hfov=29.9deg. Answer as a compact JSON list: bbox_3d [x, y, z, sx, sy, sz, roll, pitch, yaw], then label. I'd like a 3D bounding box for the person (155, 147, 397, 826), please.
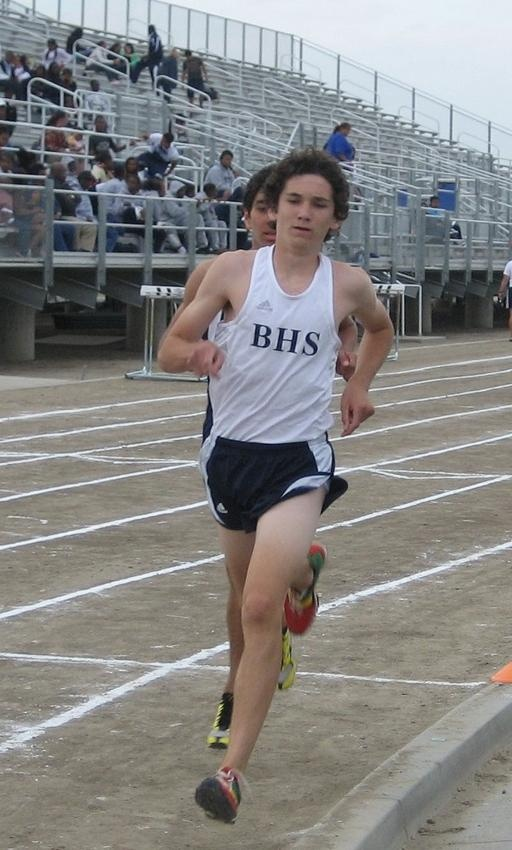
[{"bbox_3d":[0.026,0.018,2.741,0.598,1.634,1.347,3,10,11],"label":"person"}]

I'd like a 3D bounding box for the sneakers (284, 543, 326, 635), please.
[{"bbox_3d":[0.147,0.555,3.315,0.122,0.331,0.137,8,-13,25],"label":"sneakers"}]

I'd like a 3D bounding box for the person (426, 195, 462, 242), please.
[{"bbox_3d":[5.551,-6.190,28.638,0.913,1.386,1.980,5,10,19],"label":"person"}]

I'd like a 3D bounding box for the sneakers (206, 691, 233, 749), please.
[{"bbox_3d":[-0.104,0.916,2.998,0.074,0.101,0.238,2,-4,9],"label":"sneakers"}]

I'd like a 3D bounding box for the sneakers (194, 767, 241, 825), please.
[{"bbox_3d":[-0.089,0.840,2.193,0.089,0.128,0.068,8,-7,5],"label":"sneakers"}]
